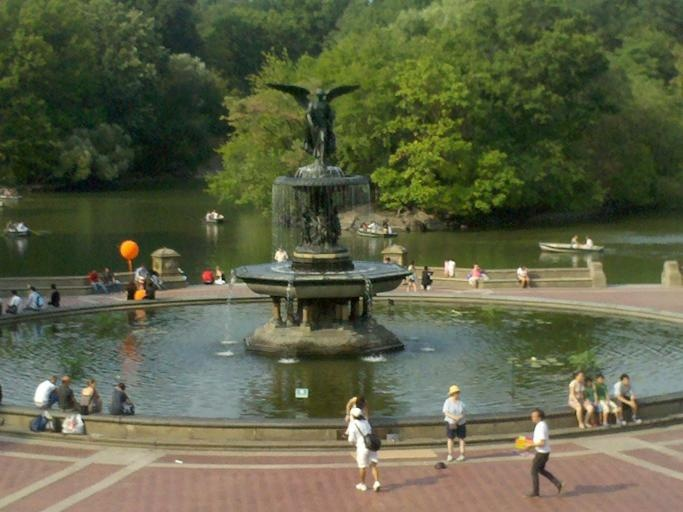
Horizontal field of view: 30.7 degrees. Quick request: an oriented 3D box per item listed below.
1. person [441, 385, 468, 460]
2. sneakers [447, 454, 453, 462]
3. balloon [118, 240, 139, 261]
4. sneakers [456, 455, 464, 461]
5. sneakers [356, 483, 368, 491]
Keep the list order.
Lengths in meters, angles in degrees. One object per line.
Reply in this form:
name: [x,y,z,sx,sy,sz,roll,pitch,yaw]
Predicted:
person: [5.100,7.457,55.614,1.130,3.354,1.059,0,-8,-9]
sneakers: [4.825,9.015,55.324,0.289,0.295,0.186,-4,-2,13]
balloon: [-14.449,-0.348,84.394,1.369,1.633,1.399,2,6,19]
sneakers: [5.306,8.992,55.357,0.315,0.200,0.164,1,-3,5]
sneakers: [0.892,10.058,54.113,0.207,0.245,0.520,-2,5,-41]
